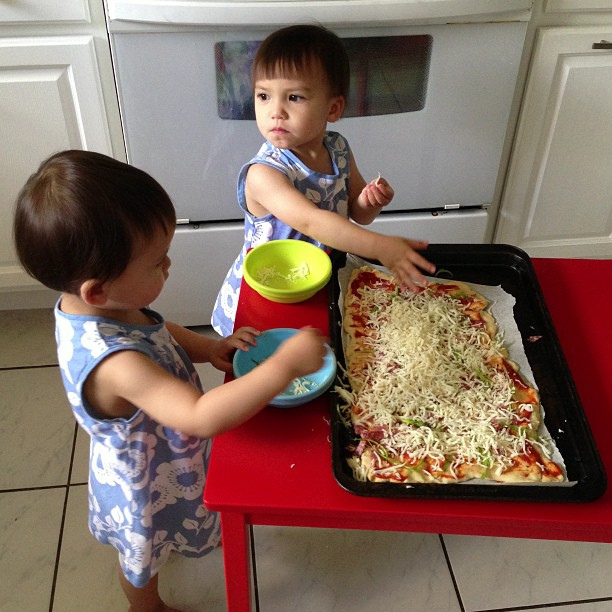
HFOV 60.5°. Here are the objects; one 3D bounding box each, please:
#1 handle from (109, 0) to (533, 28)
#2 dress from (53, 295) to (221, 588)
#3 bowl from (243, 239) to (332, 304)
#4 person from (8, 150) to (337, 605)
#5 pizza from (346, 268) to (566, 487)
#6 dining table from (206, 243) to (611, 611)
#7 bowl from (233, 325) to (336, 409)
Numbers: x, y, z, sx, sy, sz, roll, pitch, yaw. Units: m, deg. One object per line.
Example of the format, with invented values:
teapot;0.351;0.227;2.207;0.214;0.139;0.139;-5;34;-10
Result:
handle;0.037;-0.826;1.483;1.141;0.064;0.030;-3;36;-7
dress;-0.324;0.264;1.019;0.270;0.645;0.307;-6;37;-10
bowl;-0.040;-0.073;1.109;0.183;0.071;0.169;1;34;-1
person;-0.224;0.222;0.967;0.364;0.960;0.448;-29;46;-35
pizza;0.240;0.110;0.962;0.320;0.051;0.550;-5;39;3
dining table;0.195;0.209;1.179;0.789;0.366;0.759;0;41;2
bowl;-0.035;0.107;0.906;0.143;0.047;0.131;0;36;0
